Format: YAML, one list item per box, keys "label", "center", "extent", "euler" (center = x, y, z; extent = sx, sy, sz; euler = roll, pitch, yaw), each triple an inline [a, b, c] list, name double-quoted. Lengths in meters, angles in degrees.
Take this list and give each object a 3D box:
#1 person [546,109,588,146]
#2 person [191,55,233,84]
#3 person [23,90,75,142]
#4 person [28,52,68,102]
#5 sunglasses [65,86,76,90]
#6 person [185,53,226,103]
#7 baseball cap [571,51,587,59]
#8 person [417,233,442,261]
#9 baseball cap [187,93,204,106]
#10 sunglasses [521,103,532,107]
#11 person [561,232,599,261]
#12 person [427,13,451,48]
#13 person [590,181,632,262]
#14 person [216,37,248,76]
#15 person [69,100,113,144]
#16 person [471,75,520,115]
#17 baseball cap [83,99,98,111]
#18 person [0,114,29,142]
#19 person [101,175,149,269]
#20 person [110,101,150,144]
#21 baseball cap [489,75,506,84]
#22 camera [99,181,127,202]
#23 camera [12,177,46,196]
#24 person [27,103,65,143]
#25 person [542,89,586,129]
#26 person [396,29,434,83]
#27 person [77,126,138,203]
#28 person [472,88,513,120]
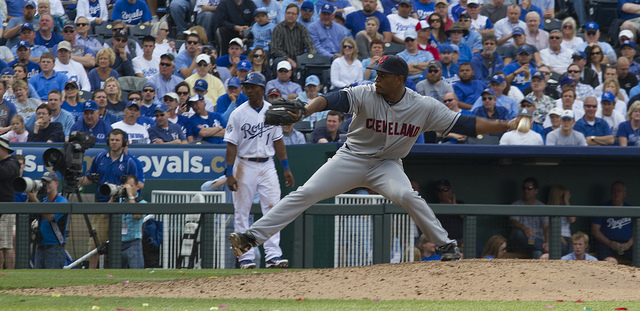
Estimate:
- label: "person"
  center: [6.032, -0.687, 31.336]
  extent: [0.948, 0.560, 0.334]
  euler: [-1, 1, 8]
- label: "person"
  center: [-2.754, -2.187, 33.013]
  extent: [0.540, 0.329, 0.866]
  euler: [-19, -11, 28]
- label: "person"
  center: [-6.523, -0.914, 31.217]
  extent: [1.619, 1.404, 0.966]
  euler: [0, -5, -3]
- label: "person"
  center: [-6.776, -1.939, 32.331]
  extent: [1.672, 1.229, 0.832]
  euler: [-2, 0, -11]
- label: "sunglasses"
  center: [-6.112, -1.665, 31.652]
  extent: [0.124, 0.099, 0.034]
  euler: [-5, 4, 4]
- label: "person"
  center: [-2.897, -1.928, 32.698]
  extent: [1.761, 1.181, 0.850]
  euler: [-1, 0, -8]
- label: "baseball cap"
  center: [6.864, -2.639, 33.734]
  extent: [0.356, 0.221, 0.417]
  euler: [-1, 1, 13]
- label: "person"
  center: [2.467, 2.089, 28.956]
  extent: [0.454, 0.672, 0.742]
  euler: [-12, -16, 34]
- label: "baseball cap"
  center: [-3.027, -1.388, 31.676]
  extent: [0.388, 0.236, 0.281]
  euler: [-1, 1, -5]
- label: "sunglasses"
  center: [5.185, -1.247, 32.065]
  extent: [0.143, 0.084, 0.223]
  euler: [-7, -11, 33]
- label: "person"
  center: [5.883, 2.093, 28.982]
  extent: [0.921, 0.600, 0.426]
  euler: [0, -6, 11]
- label: "person"
  center: [3.178, -3.265, 34.248]
  extent: [0.644, 1.249, 0.342]
  euler: [-10, 41, 1]
- label: "person"
  center: [6.944, 1.504, 30.425]
  extent: [0.925, 1.119, 3.293]
  euler: [-1, 1, 13]
- label: "person"
  center: [-2.284, -2.596, 33.648]
  extent: [1.035, 0.986, 1.813]
  euler: [1, 4, 1]
- label: "person"
  center: [-5.481, -0.690, 31.143]
  extent: [1.117, 1.155, 0.779]
  euler: [0, -5, -4]
- label: "person"
  center: [4.498, -1.573, 32.239]
  extent: [1.018, 0.567, 1.275]
  euler: [-2, 6, 23]
- label: "baseball cap"
  center: [-5.516, -1.217, 31.118]
  extent: [0.346, 0.225, 0.322]
  euler: [-1, 1, -9]
- label: "person"
  center: [-7.348, -0.649, 30.987]
  extent: [0.851, 0.438, 0.328]
  euler: [0, -5, -3]
- label: "person"
  center: [-4.416, 1.478, 29.346]
  extent: [0.987, 1.698, 1.530]
  euler: [-2, 1, -9]
- label: "person"
  center: [-4.570, -0.771, 31.256]
  extent: [1.118, 1.208, 0.660]
  euler: [0, -31, -17]
- label: "baseball cap"
  center: [4.519, -1.914, 32.309]
  extent: [0.316, 0.146, 0.427]
  euler: [2, 6, 26]
- label: "camera"
  center: [-4.722, 0.802, 29.317]
  extent: [0.289, 0.293, 0.595]
  euler: [32, 10, 28]
- label: "camera"
  center: [-6.443, 0.635, 29.011]
  extent: [0.289, 0.224, 0.682]
  euler: [14, 4, 28]
- label: "person"
  center: [-6.607, -0.717, 30.963]
  extent: [0.927, 1.007, 0.826]
  euler: [1, -6, -10]
- label: "person"
  center: [6.001, -1.315, 31.776]
  extent: [0.664, 0.681, 1.451]
  euler: [3, -3, 23]
- label: "person"
  center: [2.551, -2.586, 33.502]
  extent: [1.240, 1.358, 1.094]
  euler: [-10, 2, -10]
- label: "person"
  center: [-4.952, 0.219, 30.094]
  extent: [1.418, 1.423, 0.890]
  euler: [-1, 1, 38]
- label: "person"
  center: [4.259, -1.242, 31.828]
  extent: [1.374, 0.760, 0.600]
  euler: [-2, -6, 12]
